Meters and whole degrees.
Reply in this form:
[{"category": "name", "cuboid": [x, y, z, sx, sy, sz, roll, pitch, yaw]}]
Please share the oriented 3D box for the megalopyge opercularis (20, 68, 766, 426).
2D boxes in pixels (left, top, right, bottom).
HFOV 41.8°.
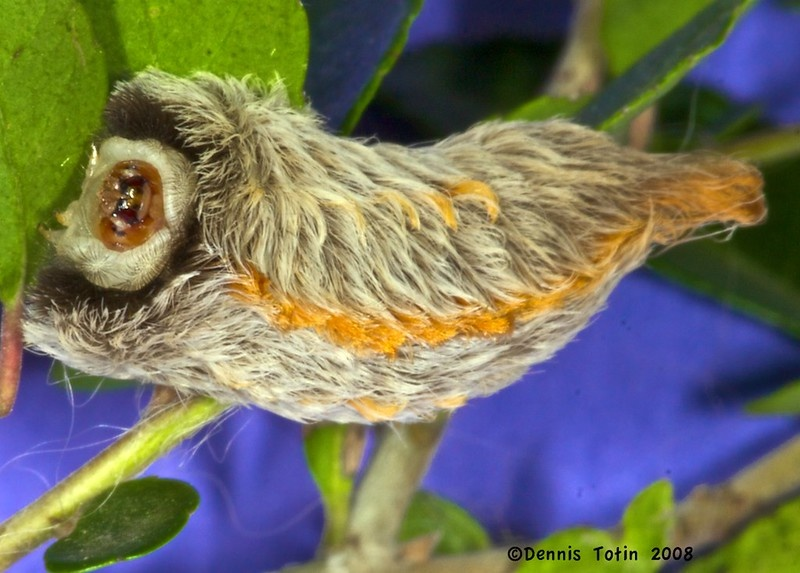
[{"category": "megalopyge opercularis", "cuboid": [0.020, -0.012, 0.995, 0.622, 0.223, 0.285, -4, 52, 0]}]
